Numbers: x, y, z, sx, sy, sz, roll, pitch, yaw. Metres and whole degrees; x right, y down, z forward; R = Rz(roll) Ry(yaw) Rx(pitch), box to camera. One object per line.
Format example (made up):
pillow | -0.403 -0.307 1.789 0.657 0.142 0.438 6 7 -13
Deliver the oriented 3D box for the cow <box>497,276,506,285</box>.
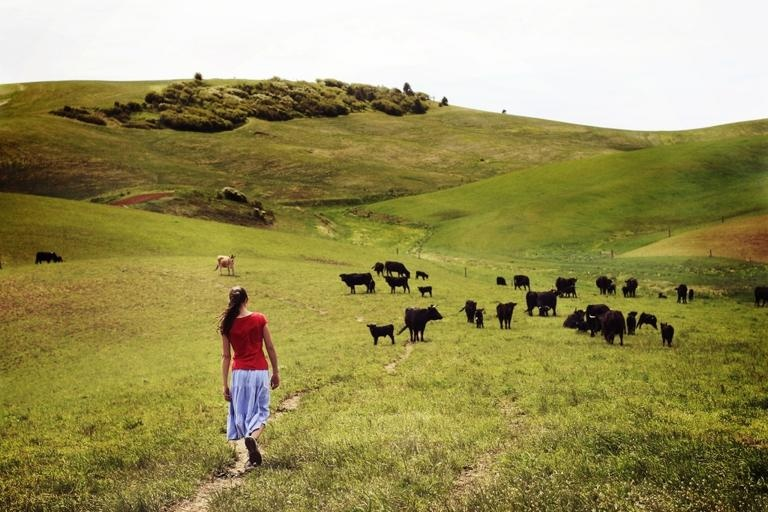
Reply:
cow | 12.224 2.559 71.174 1.061 0.812 2.181 5 9 7

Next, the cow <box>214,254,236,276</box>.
cow | -14.546 0.784 63.008 1.775 1.655 2.300 1 9 -13

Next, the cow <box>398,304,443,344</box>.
cow | 2.647 5.045 51.020 2.544 2.424 2.171 3 9 -5

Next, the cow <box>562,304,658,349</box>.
cow | 16.729 4.742 50.427 4.395 2.220 4.895 -1 10 -25
